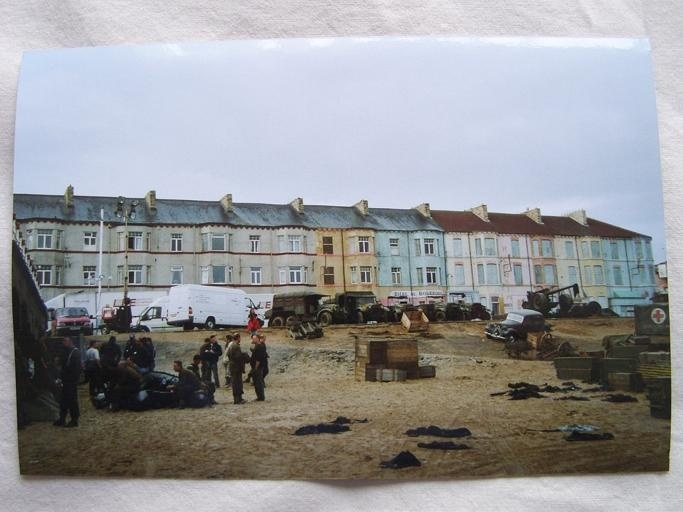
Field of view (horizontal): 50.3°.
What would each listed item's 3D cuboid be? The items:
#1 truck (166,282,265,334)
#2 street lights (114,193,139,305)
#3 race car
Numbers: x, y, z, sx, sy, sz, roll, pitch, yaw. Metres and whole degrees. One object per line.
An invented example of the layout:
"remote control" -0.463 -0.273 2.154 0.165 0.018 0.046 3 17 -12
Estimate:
"truck" -3.305 1.219 17.407 2.084 1.049 1.533 7 -7 -35
"street lights" -5.049 -0.075 17.064 0.470 2.487 0.433 1 -9 -21
"race car" -4.113 2.873 15.657 2.457 0.842 0.239 -1 -8 -5
